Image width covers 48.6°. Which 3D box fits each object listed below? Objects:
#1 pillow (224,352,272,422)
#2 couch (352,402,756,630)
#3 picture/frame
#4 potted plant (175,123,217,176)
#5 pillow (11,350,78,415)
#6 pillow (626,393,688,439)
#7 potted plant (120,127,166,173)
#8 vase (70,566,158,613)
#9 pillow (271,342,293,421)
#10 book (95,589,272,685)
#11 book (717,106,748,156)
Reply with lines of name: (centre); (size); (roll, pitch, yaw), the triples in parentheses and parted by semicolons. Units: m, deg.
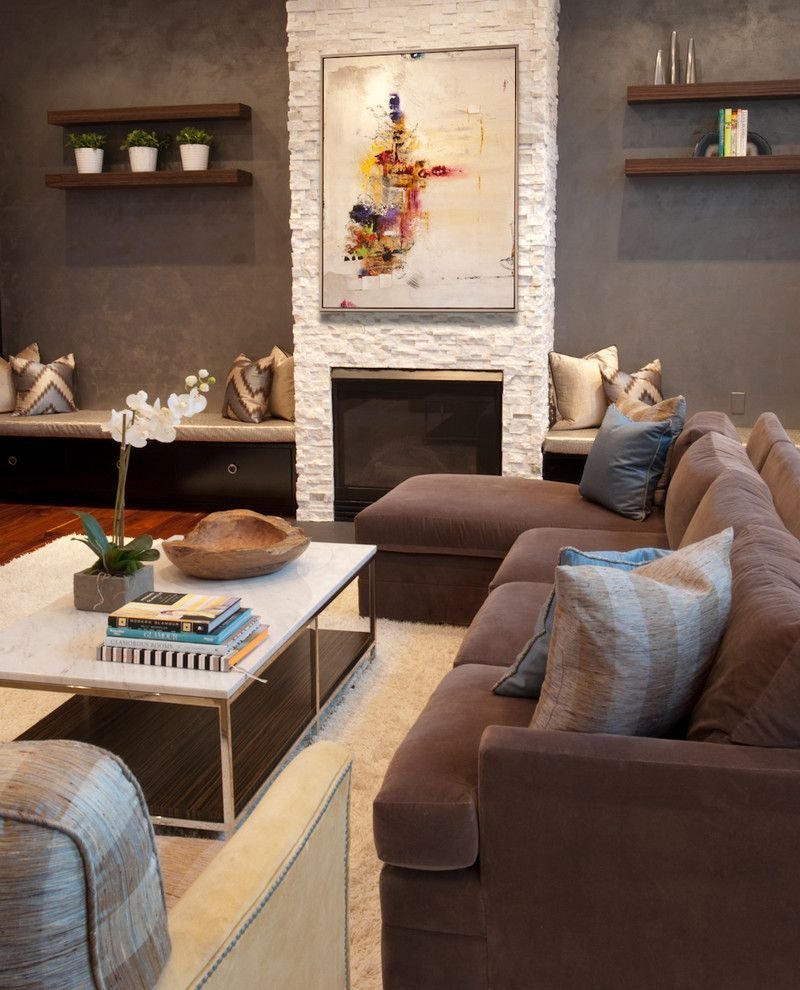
pillow: (-0.943, -0.665, 5.537); (0.212, 0.325, 0.394); (26, 0, -29)
couch: (0.541, 0.033, 3.524); (1.228, 0.746, 0.903); (3, 8, 14)
picture/frame: (0.140, -1.774, 4.778); (1.498, 1.782, 0.065); (2, 10, 12)
potted plant: (-1.286, -2.168, 5.549); (0.217, 0.312, 0.332); (-3, 12, -12)
pillow: (-2.391, -0.752, 5.953); (0.424, 0.398, 0.177); (-11, -1, -32)
pillow: (1.017, -0.315, 3.559); (0.319, 0.114, 0.384); (-6, 7, 17)
potted plant: (-1.608, -2.154, 5.662); (0.312, 0.302, 0.300); (-3, 9, -16)
vase: (-0.805, 0.256, 2.455); (0.163, 0.099, 0.159); (1, 4, 7)
pillow: (-0.742, -0.691, 5.530); (0.183, 0.472, 0.498); (-1, 5, -9)
book: (-0.525, 0.323, 2.150); (0.351, 0.131, 0.210); (2, 12, 12)
book: (1.791, -1.962, 4.797); (0.154, 0.243, 0.102); (1, 12, 7)
